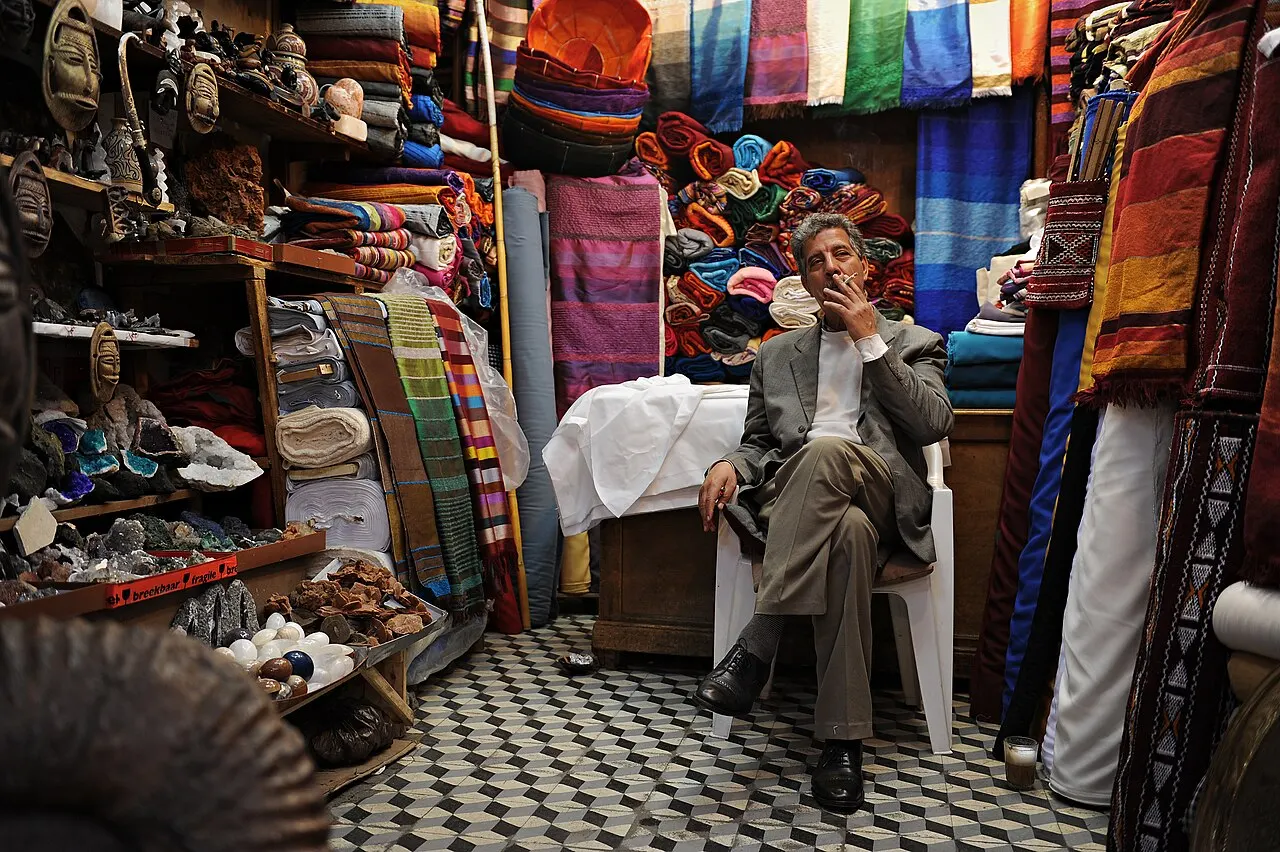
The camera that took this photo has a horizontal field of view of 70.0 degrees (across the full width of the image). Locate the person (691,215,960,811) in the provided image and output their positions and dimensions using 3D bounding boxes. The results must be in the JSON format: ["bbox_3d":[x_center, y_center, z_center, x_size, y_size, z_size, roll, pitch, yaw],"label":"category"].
[{"bbox_3d":[0.552,0.158,2.807,0.741,1.634,0.962,3,10,19],"label":"person"}]

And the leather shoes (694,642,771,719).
[{"bbox_3d":[0.299,0.730,2.763,0.139,0.123,0.297,24,23,23],"label":"leather shoes"}]

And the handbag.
[{"bbox_3d":[1.277,-0.644,2.652,0.242,0.616,0.110,3,10,23],"label":"handbag"}]

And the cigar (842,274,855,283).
[{"bbox_3d":[0.660,-0.465,2.893,0.037,0.027,0.013,9,-15,-18],"label":"cigar"}]

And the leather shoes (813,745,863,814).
[{"bbox_3d":[0.542,0.956,2.508,0.139,0.138,0.144,1,9,9],"label":"leather shoes"}]
